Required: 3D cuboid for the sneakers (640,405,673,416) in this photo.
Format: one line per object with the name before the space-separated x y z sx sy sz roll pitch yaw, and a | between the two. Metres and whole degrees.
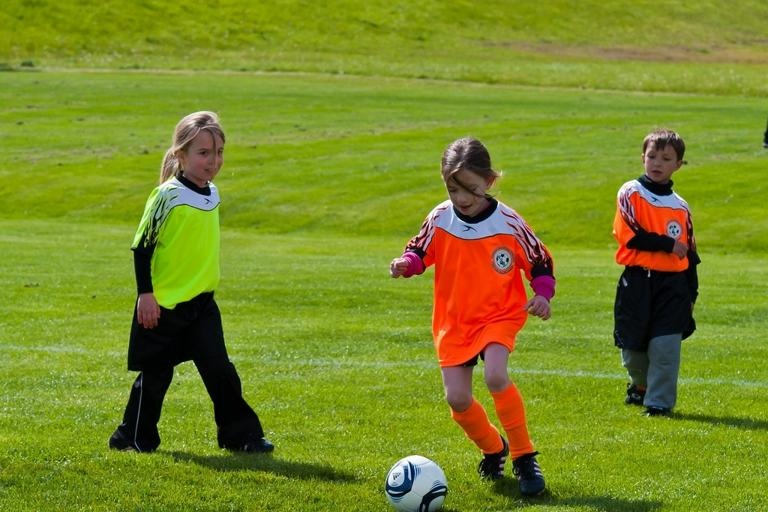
sneakers | 4.348 2.398 20.074 0.410 0.147 0.181 3 8 9
